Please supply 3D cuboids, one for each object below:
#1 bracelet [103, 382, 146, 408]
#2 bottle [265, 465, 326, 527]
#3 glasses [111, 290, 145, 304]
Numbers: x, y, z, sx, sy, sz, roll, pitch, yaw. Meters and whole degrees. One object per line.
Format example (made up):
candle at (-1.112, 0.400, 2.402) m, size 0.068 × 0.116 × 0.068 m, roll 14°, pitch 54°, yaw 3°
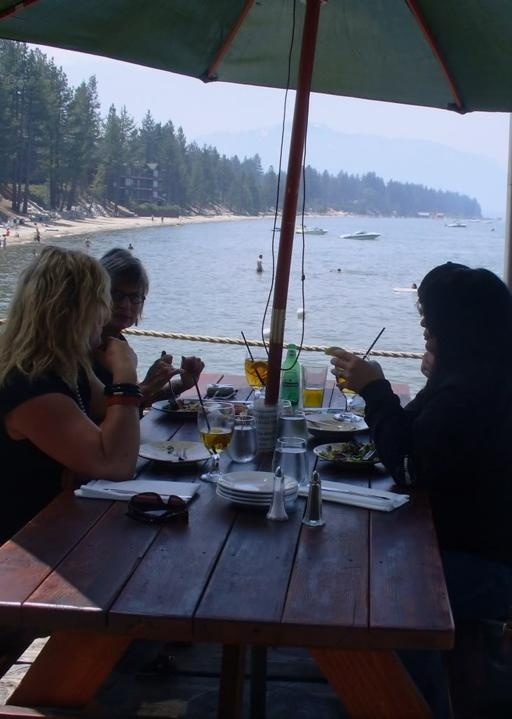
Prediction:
bracelet at (-0.377, 0.101, 1.630) m, size 0.074 × 0.047 × 0.074 m, roll -3°, pitch -2°, yaw 1°
bottle at (0.086, 0.309, 1.295) m, size 0.118 × 0.105 × 0.047 m, roll 1°, pitch 2°, yaw 9°
glasses at (-0.614, -0.298, 2.716) m, size 0.117 × 0.036 × 0.119 m, roll 1°, pitch 2°, yaw -17°
